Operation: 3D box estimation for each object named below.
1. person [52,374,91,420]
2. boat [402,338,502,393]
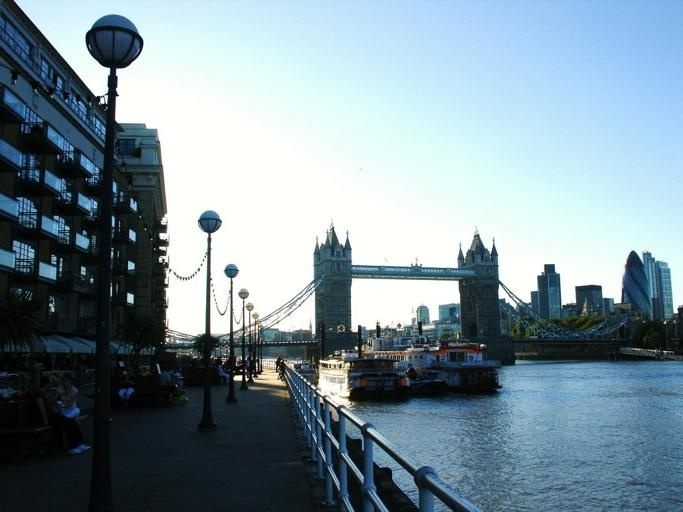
[{"bbox_3d":[-7.989,3.955,19.092,0.869,1.150,0.853,5,2,-29],"label":"person"},{"bbox_3d":[11.289,11.005,67.550,8.854,5.304,7.455,0,-10,-1],"label":"boat"}]
